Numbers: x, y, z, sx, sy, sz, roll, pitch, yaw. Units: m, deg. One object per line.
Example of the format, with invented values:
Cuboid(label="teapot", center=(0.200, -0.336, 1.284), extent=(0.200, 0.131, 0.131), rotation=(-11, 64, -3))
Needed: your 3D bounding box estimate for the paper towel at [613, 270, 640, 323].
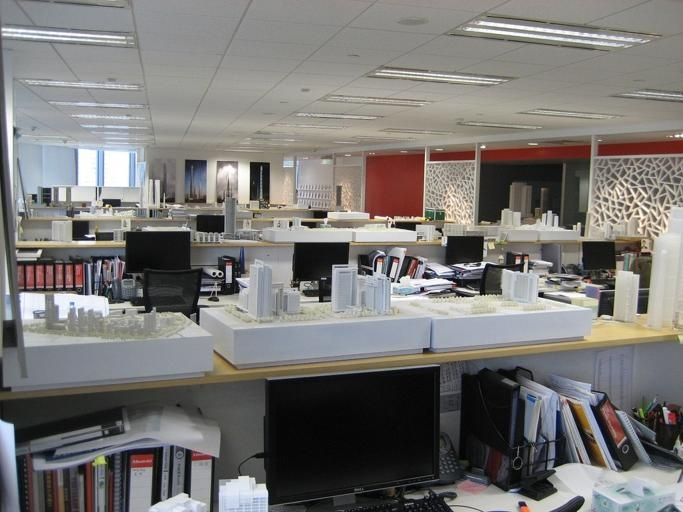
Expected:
Cuboid(label="paper towel", center=(1.688, 0.183, 3.164), extent=(0.134, 0.298, 0.217), rotation=(6, 11, 27))

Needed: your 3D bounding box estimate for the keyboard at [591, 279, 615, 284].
Cuboid(label="keyboard", center=(3.319, 0.193, 6.759), extent=(0.189, 0.041, 0.164), rotation=(0, 1, -2))

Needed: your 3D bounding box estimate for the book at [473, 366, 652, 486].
Cuboid(label="book", center=(0.995, 0.749, 2.507), extent=(0.722, 0.313, 0.486), rotation=(-1, 3, -28))

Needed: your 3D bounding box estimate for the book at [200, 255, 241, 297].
Cuboid(label="book", center=(-1.438, 0.083, 6.342), extent=(0.434, 0.376, 0.555), rotation=(-1, 4, -25))

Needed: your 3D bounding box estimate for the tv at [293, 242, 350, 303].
Cuboid(label="tv", center=(-0.214, 0.018, 5.236), extent=(0.797, 0.712, 0.242), rotation=(-1, 18, -13))

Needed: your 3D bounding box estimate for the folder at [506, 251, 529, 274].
Cuboid(label="folder", center=(2.041, -0.067, 6.216), extent=(0.158, 0.264, 0.277), rotation=(1, 7, -16))

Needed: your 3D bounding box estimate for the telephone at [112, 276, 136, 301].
Cuboid(label="telephone", center=(-2.344, 0.235, 5.781), extent=(0.232, 0.115, 0.281), rotation=(-1, 28, -20))

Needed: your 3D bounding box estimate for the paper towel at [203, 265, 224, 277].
Cuboid(label="paper towel", center=(-1.509, 0.048, 6.277), extent=(0.137, 0.065, 0.264), rotation=(14, -1, -22))

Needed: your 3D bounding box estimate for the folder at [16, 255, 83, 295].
Cuboid(label="folder", center=(-3.090, 0.095, 5.653), extent=(0.538, 0.246, 0.175), rotation=(0, 0, -15))

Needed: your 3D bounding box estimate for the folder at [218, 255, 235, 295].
Cuboid(label="folder", center=(-1.420, 0.111, 6.417), extent=(0.156, 0.439, 0.475), rotation=(-1, 4, -35))

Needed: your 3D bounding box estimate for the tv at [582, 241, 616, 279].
Cuboid(label="tv", center=(3.552, -0.126, 7.407), extent=(0.627, 0.539, 0.190), rotation=(-1, 2, -20))

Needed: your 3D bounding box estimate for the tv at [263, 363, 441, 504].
Cuboid(label="tv", center=(0.024, 0.710, 2.099), extent=(0.689, 0.413, 0.071), rotation=(-2, 4, -15))

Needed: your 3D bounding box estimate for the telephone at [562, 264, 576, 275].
Cuboid(label="telephone", center=(3.240, 0.019, 7.605), extent=(0.155, 0.113, 0.249), rotation=(9, 21, 26))
